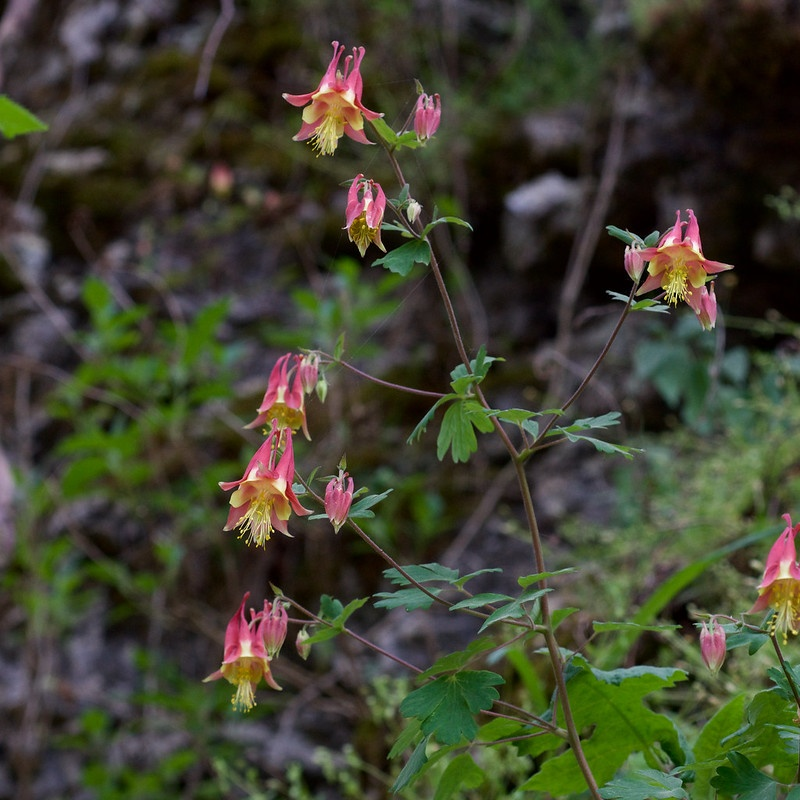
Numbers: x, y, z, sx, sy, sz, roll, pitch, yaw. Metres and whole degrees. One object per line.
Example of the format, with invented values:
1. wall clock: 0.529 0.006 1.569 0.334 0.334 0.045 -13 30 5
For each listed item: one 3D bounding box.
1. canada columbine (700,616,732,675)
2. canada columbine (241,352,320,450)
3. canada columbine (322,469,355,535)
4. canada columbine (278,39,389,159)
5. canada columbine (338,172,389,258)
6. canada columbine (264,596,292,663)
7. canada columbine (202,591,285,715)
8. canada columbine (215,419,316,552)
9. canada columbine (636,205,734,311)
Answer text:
1. canada columbine: 0.645 0.509 2.070 0.047 0.045 0.142 -14 109 -7
2. canada columbine: -0.257 -0.021 2.235 0.166 0.178 0.204 8 63 -14
3. canada columbine: -0.126 0.209 2.090 0.048 0.047 0.137 6 88 23
4. canada columbine: -0.134 -0.668 2.172 0.188 0.251 0.092 39 72 13
5. canada columbine: -0.078 -0.402 2.138 0.094 0.097 0.173 1 70 17
6. canada columbine: -0.262 0.482 2.123 0.055 0.056 0.131 1 80 29
7. canada columbine: -0.325 0.527 2.136 0.163 0.150 0.239 9 47 -18
8. canada columbine: -0.292 0.170 2.130 0.168 0.183 0.259 10 61 -1
9. canada columbine: 0.607 -0.320 2.154 0.204 0.203 0.189 10 104 15
